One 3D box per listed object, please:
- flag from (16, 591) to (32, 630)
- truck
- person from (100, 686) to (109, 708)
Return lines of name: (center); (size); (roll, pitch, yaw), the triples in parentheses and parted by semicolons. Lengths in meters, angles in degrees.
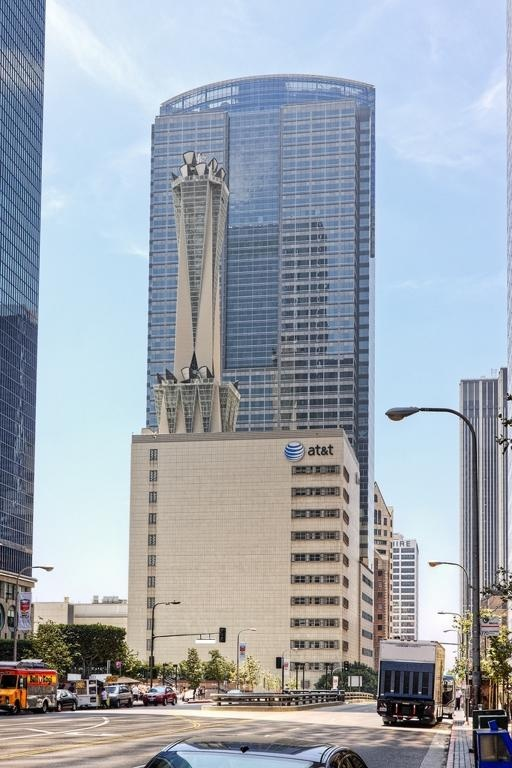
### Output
flag: (-15.393, 15.006, 105.737); (0.817, 2.564, 3.313); (2, -13, -9)
truck: (7.283, 14.074, 75.589); (3.151, 4.409, 6.328); (0, -7, 9)
person: (-9.227, 19.224, 97.982); (0.523, 1.207, 1.416); (1, -13, -7)
